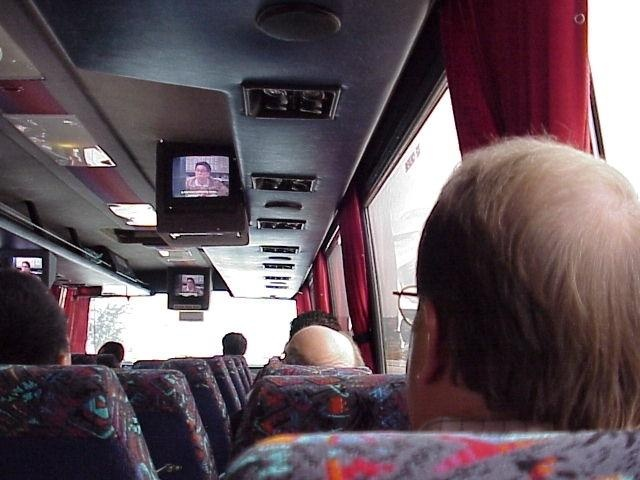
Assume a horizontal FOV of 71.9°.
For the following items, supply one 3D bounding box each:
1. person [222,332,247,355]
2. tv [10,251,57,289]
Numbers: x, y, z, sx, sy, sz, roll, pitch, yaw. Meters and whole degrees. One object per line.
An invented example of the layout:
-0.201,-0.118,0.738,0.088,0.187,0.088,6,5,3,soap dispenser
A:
-1.408,1.759,7.531,0.397,0.411,1.097,2,-15,-11,person
-5.730,0.562,9.201,0.870,0.677,0.581,1,2,9,tv
